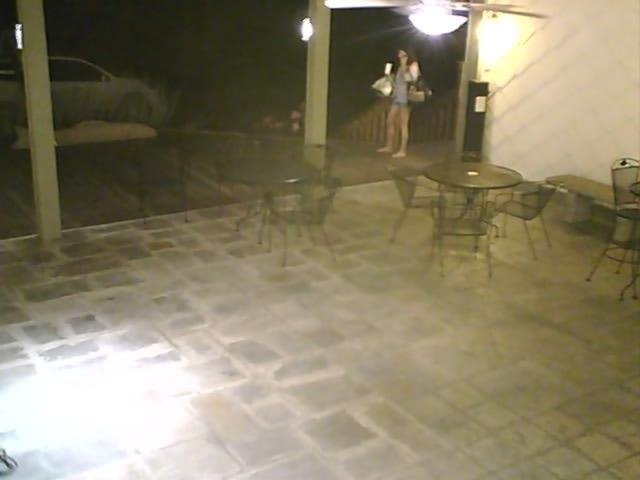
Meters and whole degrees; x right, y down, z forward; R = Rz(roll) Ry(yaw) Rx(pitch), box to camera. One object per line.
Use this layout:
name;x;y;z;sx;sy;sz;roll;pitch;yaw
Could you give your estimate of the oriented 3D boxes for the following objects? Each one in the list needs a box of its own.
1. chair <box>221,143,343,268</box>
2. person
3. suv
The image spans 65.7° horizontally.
chair;-0.633;-0.841;7.184;1.543;1.177;3.500;0;19;-11
person;1.533;-2.626;9.563;0.597;1.928;1.331;5;18;6
suv;-3.725;-2.531;8.505;2.921;1.249;0.956;-4;54;-31
